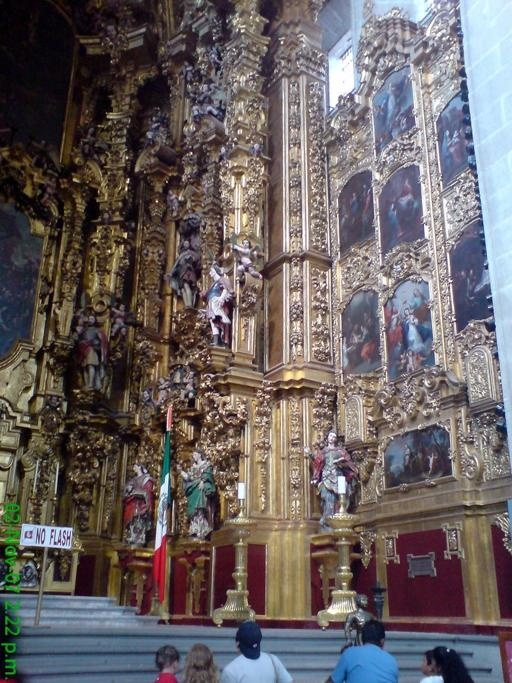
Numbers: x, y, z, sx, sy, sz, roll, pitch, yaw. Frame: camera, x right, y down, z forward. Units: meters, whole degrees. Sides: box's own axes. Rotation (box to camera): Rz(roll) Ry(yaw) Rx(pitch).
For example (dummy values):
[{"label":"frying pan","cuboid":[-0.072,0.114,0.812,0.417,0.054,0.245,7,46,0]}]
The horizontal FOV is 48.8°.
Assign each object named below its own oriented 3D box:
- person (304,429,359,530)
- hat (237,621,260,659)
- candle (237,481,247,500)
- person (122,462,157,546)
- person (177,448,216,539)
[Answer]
[{"label":"person","cuboid":[1.265,2.203,9.002,0.550,1.479,0.858,16,-26,-36]},{"label":"hat","cuboid":[-0.027,1.086,2.066,0.078,0.118,0.065,1,-63,-8]},{"label":"candle","cuboid":[-0.193,1.922,7.196,0.074,0.239,0.226,4,-21,-10]},{"label":"person","cuboid":[-2.440,3.397,11.729,0.633,1.687,0.470,4,-21,-12]},{"label":"person","cuboid":[-0.950,2.644,9.707,0.504,1.471,0.352,2,-21,-5]}]
